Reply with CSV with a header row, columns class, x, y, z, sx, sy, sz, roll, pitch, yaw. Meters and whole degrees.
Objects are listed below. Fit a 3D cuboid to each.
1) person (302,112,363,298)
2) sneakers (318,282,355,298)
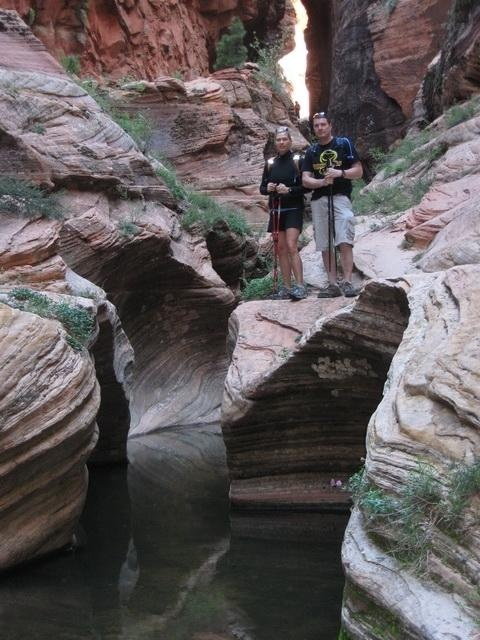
class,x,y,z,sx,sy,sz,roll,pitch,yaw
person,0.861,-1.086,6.003,0.534,1.743,0.698,-1,3,6
sneakers,0.867,-0.282,5.921,0.402,0.155,0.148,2,-4,-1
